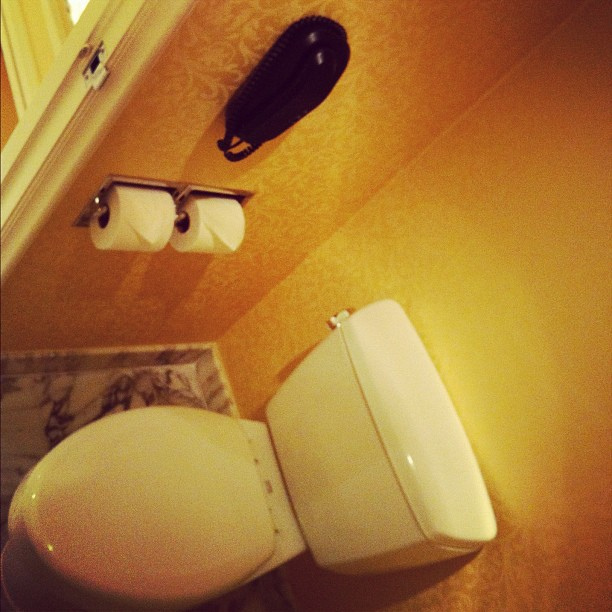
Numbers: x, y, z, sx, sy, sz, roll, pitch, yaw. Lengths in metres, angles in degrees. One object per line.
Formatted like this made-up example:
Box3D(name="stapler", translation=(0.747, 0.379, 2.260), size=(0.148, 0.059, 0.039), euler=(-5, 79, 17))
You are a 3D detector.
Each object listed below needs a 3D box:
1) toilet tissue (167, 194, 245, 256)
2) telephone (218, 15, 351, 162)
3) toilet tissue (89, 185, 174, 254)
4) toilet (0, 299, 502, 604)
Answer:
Box3D(name="toilet tissue", translation=(-0.195, -0.140, 1.340), size=(0.126, 0.124, 0.098), euler=(-9, 4, -43))
Box3D(name="telephone", translation=(-0.041, -0.349, 1.126), size=(0.125, 0.250, 0.056), euler=(32, 27, -36))
Box3D(name="toilet tissue", translation=(-0.306, -0.161, 1.209), size=(0.106, 0.126, 0.143), euler=(16, 2, 26))
Box3D(name="toilet", translation=(-0.129, 0.297, 1.374), size=(0.835, 0.704, 0.561), euler=(-6, 63, -33))
